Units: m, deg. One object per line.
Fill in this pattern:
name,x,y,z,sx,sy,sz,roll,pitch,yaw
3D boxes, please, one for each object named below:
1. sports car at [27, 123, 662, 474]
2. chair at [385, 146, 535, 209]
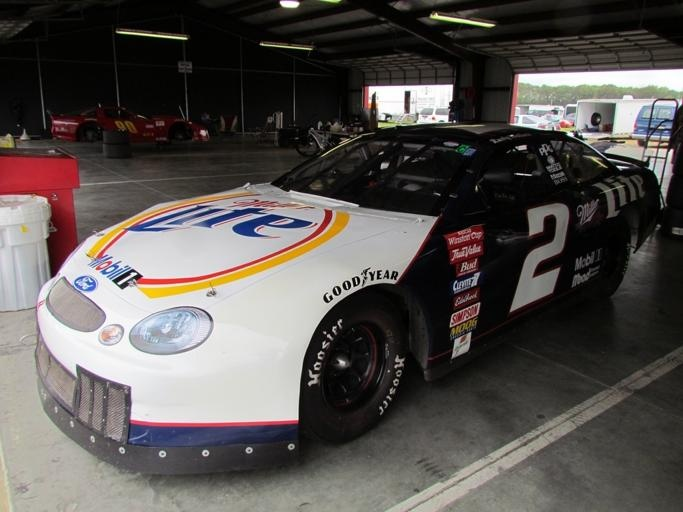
sports car,0.547,0.003,3.420,4.474,1.035,2.050,-14,24,-33
chair,0.927,-0.580,3.300,1.025,0.229,0.563,-17,31,-20
